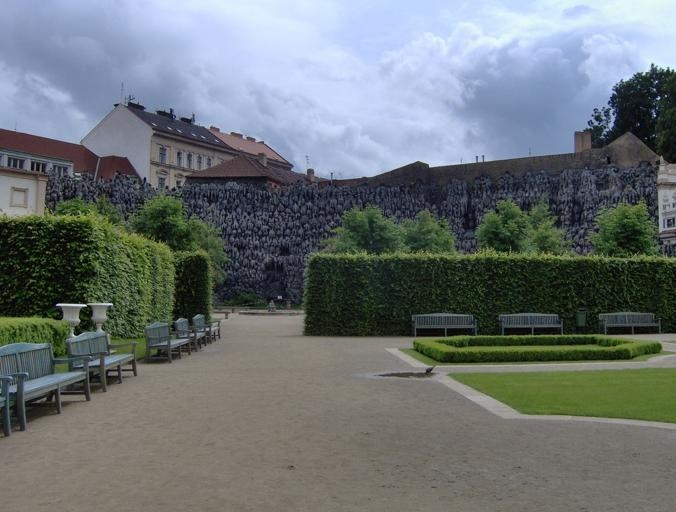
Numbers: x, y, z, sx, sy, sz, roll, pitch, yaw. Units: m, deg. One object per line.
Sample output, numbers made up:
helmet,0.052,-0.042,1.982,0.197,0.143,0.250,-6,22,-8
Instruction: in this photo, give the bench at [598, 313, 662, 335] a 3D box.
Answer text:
bench,11.560,2.656,28.183,2.720,0.850,0.727,0,3,-18

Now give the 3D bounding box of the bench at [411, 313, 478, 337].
bench,4.107,2.663,27.652,2.478,0.893,0.932,1,3,7
